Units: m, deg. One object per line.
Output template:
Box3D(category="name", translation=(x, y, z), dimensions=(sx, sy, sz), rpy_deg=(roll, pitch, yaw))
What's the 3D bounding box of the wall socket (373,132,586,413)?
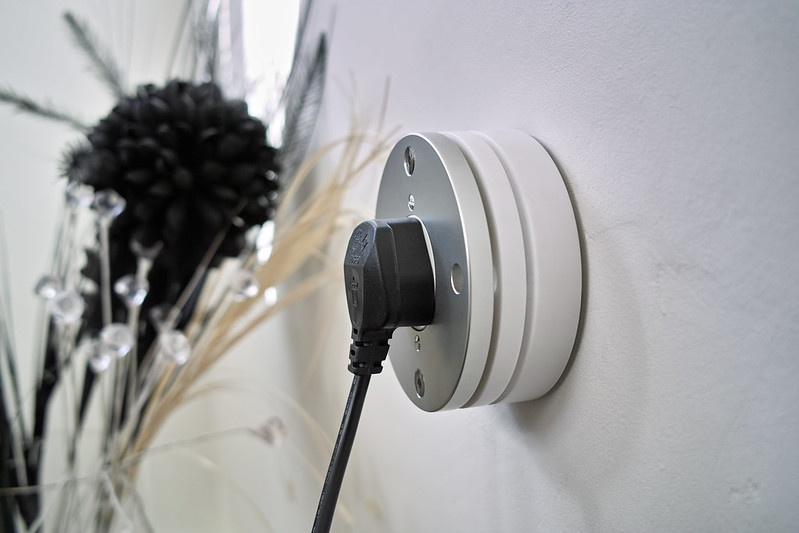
Box3D(category="wall socket", translation=(0.060, 0.002, 0.432), dimensions=(0.072, 0.224, 0.174), rpy_deg=(-4, 5, -23))
